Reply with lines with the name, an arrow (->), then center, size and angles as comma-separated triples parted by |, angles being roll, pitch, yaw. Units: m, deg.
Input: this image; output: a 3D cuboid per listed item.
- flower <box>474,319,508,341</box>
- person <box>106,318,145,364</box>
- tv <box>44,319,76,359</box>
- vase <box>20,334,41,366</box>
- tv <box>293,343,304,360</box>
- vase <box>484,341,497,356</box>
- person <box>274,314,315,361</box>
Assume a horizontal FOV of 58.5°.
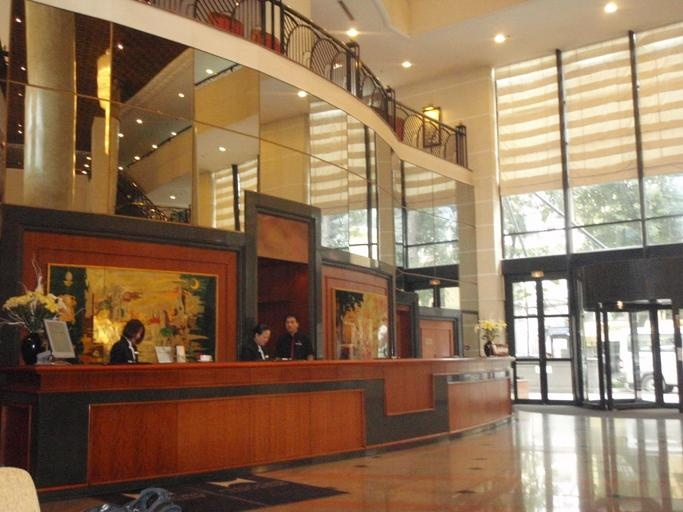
flower -> 3.535, 1.766, 14.542 | 0.766, 0.545, 0.774 | 4, -6, -24
person -> -2.616, 1.036, 7.461 | 0.351, 0.538, 0.816 | 2, -11, -20
tv -> -3.170, 0.915, 6.822 | 0.345, 0.464, 0.315 | -10, -13, 39
vase -> -3.485, 1.044, 6.958 | 0.412, 0.360, 0.192 | -11, -13, 41
tv -> -0.684, 1.517, 9.809 | 0.198, 0.344, 0.182 | 1, -12, -4
vase -> 3.041, 1.870, 12.471 | 0.237, 0.335, 0.512 | -4, -10, 13
person -> -0.736, 1.314, 9.905 | 0.730, 0.703, 0.344 | -7, -11, 30
